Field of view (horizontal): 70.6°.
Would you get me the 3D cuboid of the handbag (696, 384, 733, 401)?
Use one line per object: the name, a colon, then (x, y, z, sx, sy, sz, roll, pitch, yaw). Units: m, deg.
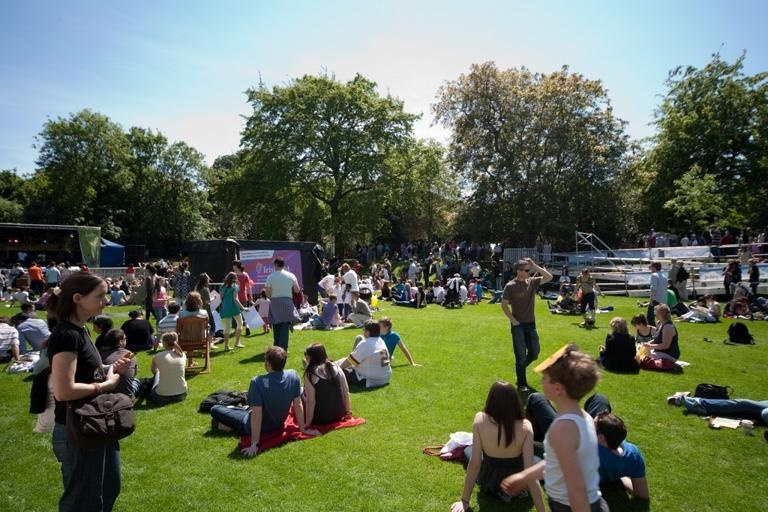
handbag: (7.076, 2.909, 11.669, 0.565, 0.263, 0.382, 0, -2, 39)

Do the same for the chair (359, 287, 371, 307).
chair: (-0.740, 1.613, 22.212, 0.459, 0.653, 0.628, 0, -6, -2)

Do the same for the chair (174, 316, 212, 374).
chair: (-4.882, 2.124, 13.797, 0.869, 1.462, 1.023, -2, 11, -30)

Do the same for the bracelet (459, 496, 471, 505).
bracelet: (1.310, 3.916, 8.696, 0.129, 0.099, 0.150, 37, 17, -5)

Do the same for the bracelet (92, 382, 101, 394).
bracelet: (-4.115, 1.899, 7.764, 0.047, 0.106, 0.119, 2, 33, -12)
